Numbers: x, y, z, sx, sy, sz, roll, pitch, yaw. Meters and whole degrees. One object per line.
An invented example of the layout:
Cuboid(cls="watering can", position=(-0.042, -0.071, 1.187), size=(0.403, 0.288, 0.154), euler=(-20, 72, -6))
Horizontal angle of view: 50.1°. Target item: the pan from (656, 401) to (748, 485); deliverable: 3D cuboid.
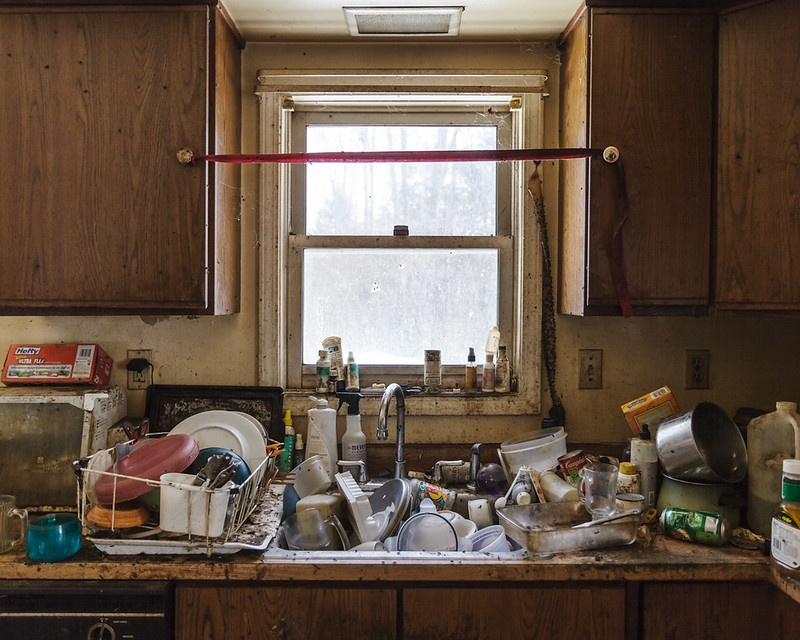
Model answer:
Cuboid(cls="pan", position=(0.946, 0.391, 2.675), size=(0.146, 0.263, 0.241), euler=(-14, 24, 41))

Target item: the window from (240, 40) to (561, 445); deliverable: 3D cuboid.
Cuboid(cls="window", position=(-0.004, -0.294, 3.130), size=(1.123, 1.706, 0.111), euler=(-1, 1, 1))

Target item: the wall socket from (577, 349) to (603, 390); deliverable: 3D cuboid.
Cuboid(cls="wall socket", position=(0.695, 0.173, 3.115), size=(0.112, 0.208, 0.022), euler=(1, -1, 1))

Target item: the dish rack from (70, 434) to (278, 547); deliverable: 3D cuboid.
Cuboid(cls="dish rack", position=(-0.659, 0.551, 2.533), size=(0.384, 0.179, 0.347), euler=(3, 1, -4))

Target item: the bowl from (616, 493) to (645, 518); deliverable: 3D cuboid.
Cuboid(cls="bowl", position=(0.721, 0.574, 2.654), size=(0.055, 0.068, 0.061), euler=(0, -5, -7))
